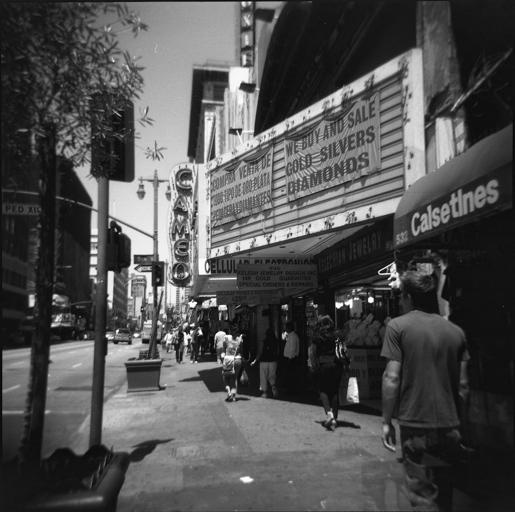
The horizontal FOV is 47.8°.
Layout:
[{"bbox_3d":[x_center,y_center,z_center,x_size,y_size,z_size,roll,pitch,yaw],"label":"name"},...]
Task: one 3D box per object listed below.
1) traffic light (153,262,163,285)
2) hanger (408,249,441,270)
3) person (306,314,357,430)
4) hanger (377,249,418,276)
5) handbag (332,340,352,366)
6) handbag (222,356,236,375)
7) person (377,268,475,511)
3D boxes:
[{"bbox_3d":[-3.065,0.543,18.049,0.334,0.793,0.388,0,-8,-14],"label":"traffic light"},{"bbox_3d":[2.461,0.078,8.538,0.410,0.144,0.555,5,-28,4],"label":"hanger"},{"bbox_3d":[1.261,2.024,10.332,0.668,1.803,2.910,-2,-10,6],"label":"person"},{"bbox_3d":[2.282,0.215,9.315,0.410,0.427,0.783,-1,9,29],"label":"hanger"},{"bbox_3d":[1.310,1.631,9.361,0.225,0.504,0.111,1,-13,-30],"label":"handbag"},{"bbox_3d":[-0.614,2.353,12.687,0.296,0.515,0.318,0,-45,0],"label":"handbag"},{"bbox_3d":[1.287,1.017,4.412,0.688,1.845,0.381,-3,-7,8],"label":"person"}]
